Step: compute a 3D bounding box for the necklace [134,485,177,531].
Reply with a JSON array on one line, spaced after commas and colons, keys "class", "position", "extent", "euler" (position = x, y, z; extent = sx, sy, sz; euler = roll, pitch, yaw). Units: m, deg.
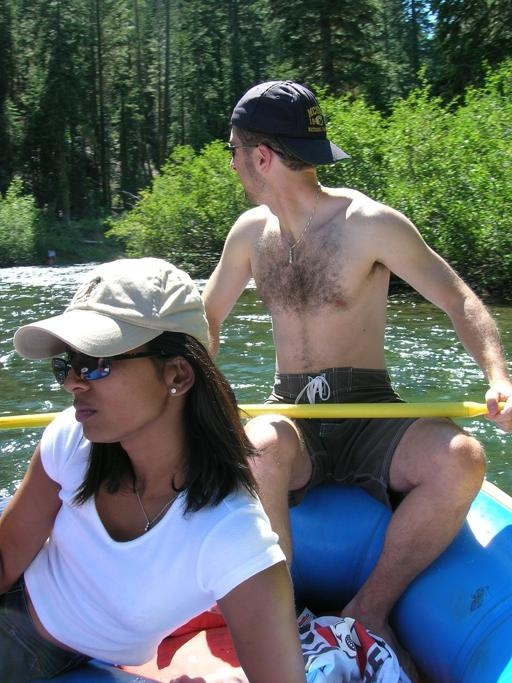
[{"class": "necklace", "position": [-0.185, 0.299, 1.437], "extent": [0.085, 0.070, 0.020], "euler": [15, -5, 34]}]

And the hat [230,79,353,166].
[{"class": "hat", "position": [0.103, -0.659, 2.468], "extent": [0.401, 0.172, 0.235], "euler": [23, 27, 14]}]

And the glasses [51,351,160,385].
[{"class": "glasses", "position": [-0.286, 0.044, 1.426], "extent": [0.118, 0.028, 0.109], "euler": [-5, 0, -39]}]

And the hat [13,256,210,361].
[{"class": "hat", "position": [-0.280, -0.053, 1.506], "extent": [0.271, 0.203, 0.308], "euler": [-12, 15, -36]}]

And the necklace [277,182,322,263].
[{"class": "necklace", "position": [0.137, -0.358, 2.437], "extent": [0.030, 0.221, 0.147], "euler": [24, -7, -38]}]
